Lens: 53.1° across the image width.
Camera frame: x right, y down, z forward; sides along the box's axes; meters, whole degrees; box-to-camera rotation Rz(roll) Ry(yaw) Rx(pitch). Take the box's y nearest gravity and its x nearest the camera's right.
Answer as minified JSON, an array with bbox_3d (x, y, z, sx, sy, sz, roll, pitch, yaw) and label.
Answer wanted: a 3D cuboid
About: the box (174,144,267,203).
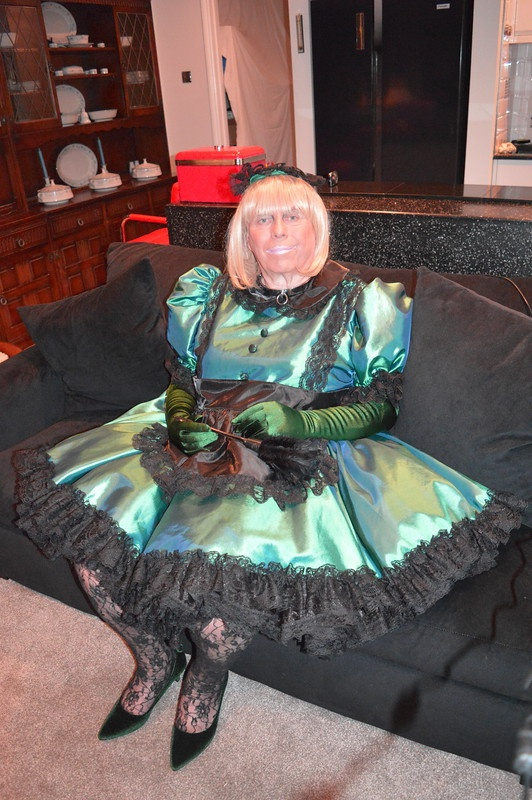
[{"bbox_3d":[-0.194,-0.995,2.357,0.386,0.202,0.383,17,31,32],"label":"box"}]

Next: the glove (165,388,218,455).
[{"bbox_3d":[-0.171,0.049,1.238,0.168,0.063,0.043,32,23,-15],"label":"glove"}]

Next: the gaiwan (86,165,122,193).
[{"bbox_3d":[-1.252,-1.694,4.134,0.268,0.211,0.264,-4,25,-9],"label":"gaiwan"}]

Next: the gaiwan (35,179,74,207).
[{"bbox_3d":[-1.500,-1.449,3.761,0.236,0.121,0.186,25,42,35],"label":"gaiwan"}]

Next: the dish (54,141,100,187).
[{"bbox_3d":[-1.493,-1.854,4.185,0.044,0.322,0.325,17,27,41],"label":"dish"}]

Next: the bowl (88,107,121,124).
[{"bbox_3d":[-1.261,-2.209,4.135,0.195,0.079,0.192,-1,22,0],"label":"bowl"}]

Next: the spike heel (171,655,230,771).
[{"bbox_3d":[-0.142,0.695,1.183,0.083,0.037,0.251,11,61,32],"label":"spike heel"}]

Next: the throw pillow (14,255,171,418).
[{"bbox_3d":[-0.467,-0.187,1.719,0.492,0.467,0.152,-27,-5,26],"label":"throw pillow"}]

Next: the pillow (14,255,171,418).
[{"bbox_3d":[-0.477,-0.218,1.741,0.492,0.467,0.152,-27,-5,26],"label":"pillow"}]

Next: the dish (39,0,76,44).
[{"bbox_3d":[-1.475,-2.749,3.882,0.144,0.259,0.361,4,28,19],"label":"dish"}]

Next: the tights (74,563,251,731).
[{"bbox_3d":[-0.206,0.528,1.103,0.427,0.435,0.148,17,43,10],"label":"tights"}]

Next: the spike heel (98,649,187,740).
[{"bbox_3d":[-0.265,0.728,1.295,0.255,0.106,0.085,-33,37,-33],"label":"spike heel"}]
